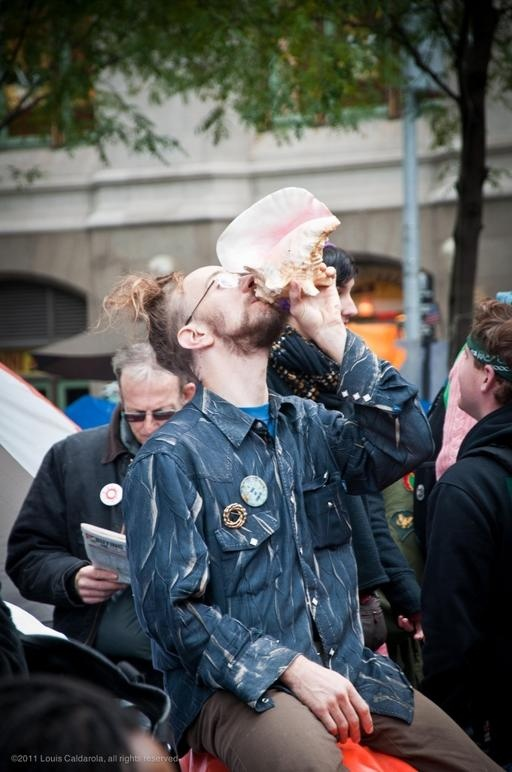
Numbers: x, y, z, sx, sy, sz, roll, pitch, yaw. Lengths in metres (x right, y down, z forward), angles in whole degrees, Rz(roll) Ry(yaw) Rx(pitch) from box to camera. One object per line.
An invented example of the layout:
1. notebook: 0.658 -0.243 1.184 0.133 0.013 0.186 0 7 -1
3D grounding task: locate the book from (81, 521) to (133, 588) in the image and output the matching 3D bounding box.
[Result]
1. book: -0.455 0.545 3.148 0.181 0.188 0.029 21 -53 -33
